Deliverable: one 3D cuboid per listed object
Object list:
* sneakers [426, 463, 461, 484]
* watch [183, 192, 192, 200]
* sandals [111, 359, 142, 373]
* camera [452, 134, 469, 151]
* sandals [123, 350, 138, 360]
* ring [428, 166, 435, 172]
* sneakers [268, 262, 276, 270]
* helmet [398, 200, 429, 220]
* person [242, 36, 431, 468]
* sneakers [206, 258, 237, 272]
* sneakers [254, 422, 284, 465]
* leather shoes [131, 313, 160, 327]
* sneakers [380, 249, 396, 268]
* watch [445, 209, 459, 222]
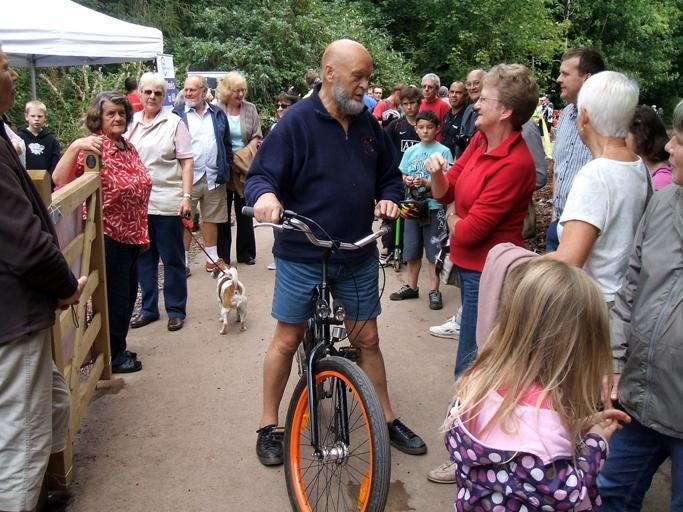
[{"bbox_3d":[0.672,1.442,4.182,0.285,0.127,0.108,3,-1,-2],"label":"sneakers"},{"bbox_3d":[-1.570,-0.613,6.309,0.063,0.065,0.094,-4,17,-16],"label":"watch"},{"bbox_3d":[-1.879,0.970,5.462,0.247,0.121,0.098,-5,15,-13],"label":"sandals"},{"bbox_3d":[1.330,-1.280,7.068,0.136,0.232,0.159,5,11,31],"label":"camera"},{"bbox_3d":[-1.896,0.875,5.587,0.137,0.062,0.050,0,10,43],"label":"sandals"},{"bbox_3d":[0.612,-0.592,4.254,0.033,0.009,0.033,1,-10,0],"label":"ring"},{"bbox_3d":[-0.924,0.129,8.231,0.091,0.109,0.249,1,5,-17],"label":"sneakers"},{"bbox_3d":[0.787,-0.508,6.825,0.288,0.194,0.226,-5,13,-22],"label":"helmet"},{"bbox_3d":[-0.057,0.050,4.185,1.224,2.820,0.994,-5,13,-26],"label":"person"},{"bbox_3d":[-1.450,0.105,7.433,0.430,0.182,0.150,-1,16,23],"label":"sneakers"},{"bbox_3d":[-0.512,1.302,4.426,0.177,0.187,0.509,3,4,-12],"label":"sneakers"},{"bbox_3d":[-2.056,0.670,6.515,0.100,0.123,0.301,-1,-3,35],"label":"leather shoes"},{"bbox_3d":[0.626,0.007,8.321,0.171,0.222,0.521,0,-1,6],"label":"sneakers"},{"bbox_3d":[0.774,-0.287,4.401,0.064,0.036,0.088,8,47,-19],"label":"watch"}]
